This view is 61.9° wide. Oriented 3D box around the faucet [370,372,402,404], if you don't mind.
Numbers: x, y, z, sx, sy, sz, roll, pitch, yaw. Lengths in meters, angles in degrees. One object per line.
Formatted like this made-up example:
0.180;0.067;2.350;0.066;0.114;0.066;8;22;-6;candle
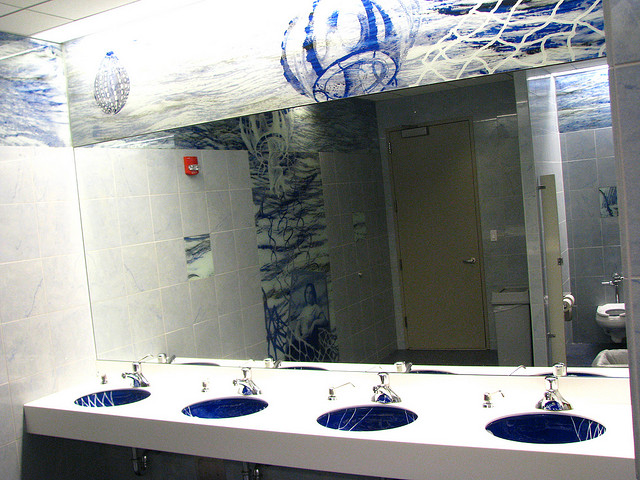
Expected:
0.336;0.765;2.807;0.131;0.164;0.211;14;-16;-40;faucet

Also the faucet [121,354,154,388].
-1.192;0.830;3.418;0.103;0.203;0.221;-1;-31;16;faucet

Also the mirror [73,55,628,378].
0.215;-0.144;2.829;2.592;1.144;0.028;0;5;18;mirror

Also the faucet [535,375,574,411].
1.094;0.716;2.496;0.109;0.142;0.186;10;-17;-33;faucet

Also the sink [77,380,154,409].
-1.251;0.976;3.404;0.460;0.100;0.278;-2;2;1;sink

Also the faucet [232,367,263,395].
-0.408;0.821;3.103;0.178;0.122;0.154;-1;-5;11;faucet

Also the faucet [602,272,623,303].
1.343;0.218;2.452;0.077;0.140;0.028;-2;2;20;faucet
